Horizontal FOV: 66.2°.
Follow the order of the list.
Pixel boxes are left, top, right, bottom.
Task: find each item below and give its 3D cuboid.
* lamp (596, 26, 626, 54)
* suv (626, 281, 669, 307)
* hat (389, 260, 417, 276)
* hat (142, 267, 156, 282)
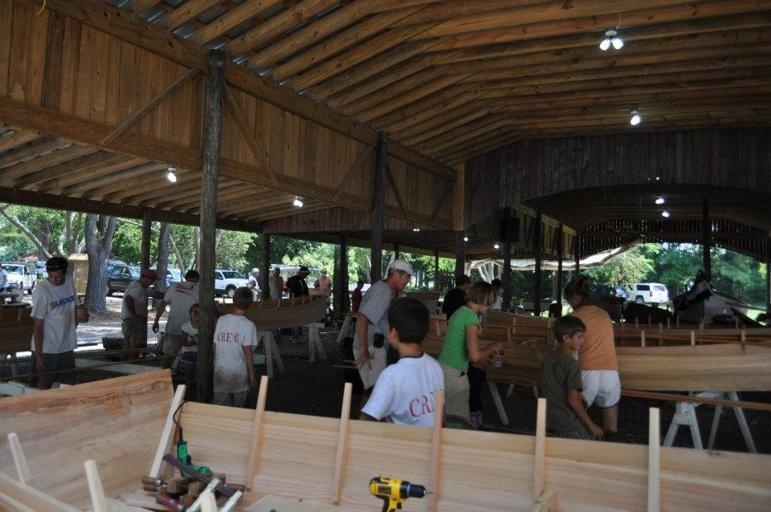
[{"bbox_3d":[3.484,-3.289,9.131,0.468,0.227,0.611,10,-13,14],"label":"lamp"},{"bbox_3d":[14.834,2.129,33.478,1.488,1.243,2.807,0,6,-18],"label":"suv"},{"bbox_3d":[0.218,0.140,7.167,0.242,0.125,0.179,2,2,-21],"label":"hat"},{"bbox_3d":[-4.412,0.337,10.946,0.285,0.200,0.174,33,-1,-32],"label":"hat"}]
